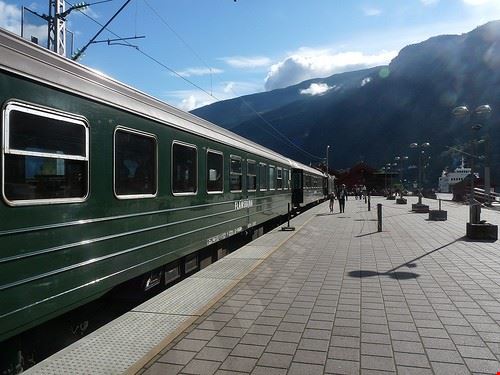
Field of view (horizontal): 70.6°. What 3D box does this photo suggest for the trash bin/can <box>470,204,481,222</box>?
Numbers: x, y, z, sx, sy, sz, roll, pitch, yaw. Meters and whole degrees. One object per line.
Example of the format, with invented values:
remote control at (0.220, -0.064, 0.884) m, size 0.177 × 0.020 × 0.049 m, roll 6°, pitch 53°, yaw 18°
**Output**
trash bin/can at (7.910, 0.927, 12.330) m, size 0.290 × 0.660 × 0.513 m, roll 1°, pitch 2°, yaw 35°
